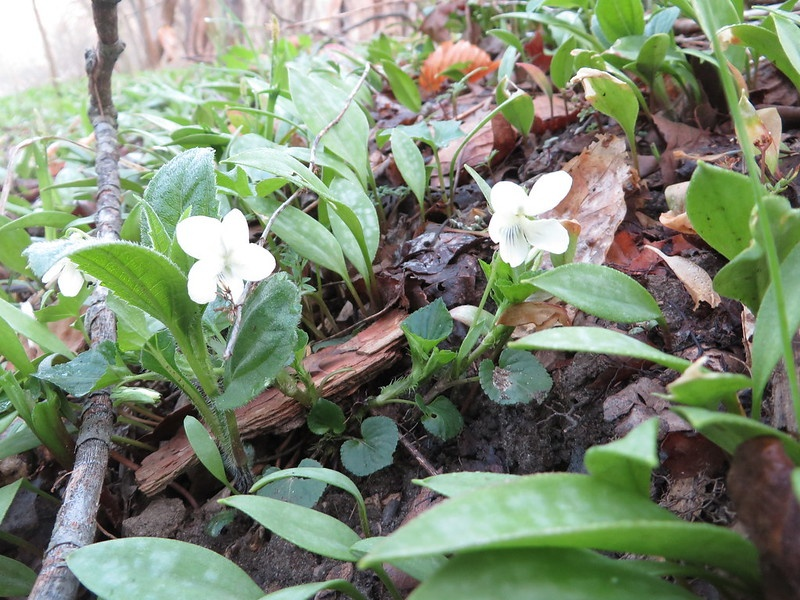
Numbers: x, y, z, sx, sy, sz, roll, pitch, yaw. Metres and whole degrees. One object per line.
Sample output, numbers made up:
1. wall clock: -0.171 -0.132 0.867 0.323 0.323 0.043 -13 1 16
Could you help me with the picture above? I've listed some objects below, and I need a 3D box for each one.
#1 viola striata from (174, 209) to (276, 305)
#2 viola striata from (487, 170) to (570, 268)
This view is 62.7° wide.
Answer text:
1. viola striata: -0.458 -0.116 1.742 0.305 0.094 0.307 14 7 -17
2. viola striata: 0.344 -0.223 1.804 0.239 0.256 0.119 -10 24 -15
